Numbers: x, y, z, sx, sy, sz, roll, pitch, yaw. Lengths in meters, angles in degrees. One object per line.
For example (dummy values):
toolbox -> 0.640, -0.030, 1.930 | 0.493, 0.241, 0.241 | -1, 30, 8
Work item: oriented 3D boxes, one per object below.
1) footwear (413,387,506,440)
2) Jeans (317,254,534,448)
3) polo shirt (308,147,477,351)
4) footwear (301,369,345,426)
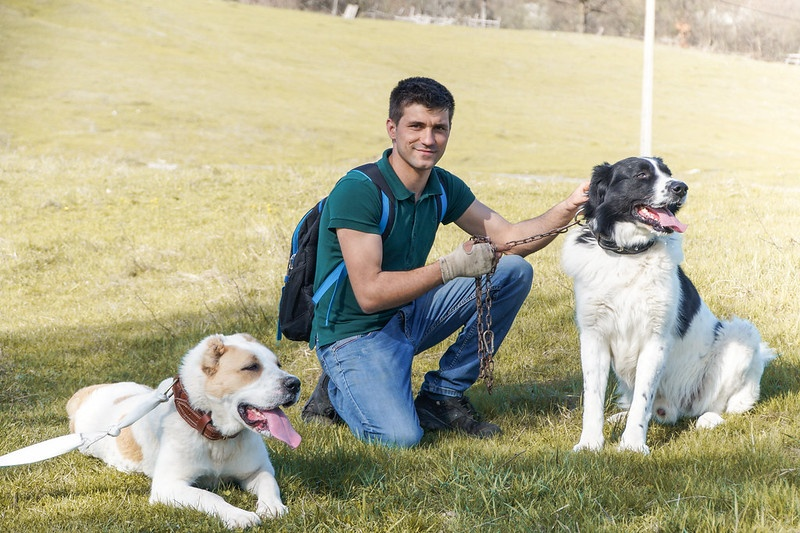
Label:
footwear -> 0.680, 1.727, 10.631 | 1.138, 0.592, 0.427 | 5, 3, 12
Jeans -> 0.153, 0.922, 11.275 | 2.327, 2.731, 1.994 | 22, 3, 37
polo shirt -> -0.166, -0.110, 10.332 | 1.624, 2.223, 0.552 | 0, 17, -22
footwear -> -0.914, 1.593, 10.617 | 0.565, 0.726, 0.396 | 4, 5, 14
